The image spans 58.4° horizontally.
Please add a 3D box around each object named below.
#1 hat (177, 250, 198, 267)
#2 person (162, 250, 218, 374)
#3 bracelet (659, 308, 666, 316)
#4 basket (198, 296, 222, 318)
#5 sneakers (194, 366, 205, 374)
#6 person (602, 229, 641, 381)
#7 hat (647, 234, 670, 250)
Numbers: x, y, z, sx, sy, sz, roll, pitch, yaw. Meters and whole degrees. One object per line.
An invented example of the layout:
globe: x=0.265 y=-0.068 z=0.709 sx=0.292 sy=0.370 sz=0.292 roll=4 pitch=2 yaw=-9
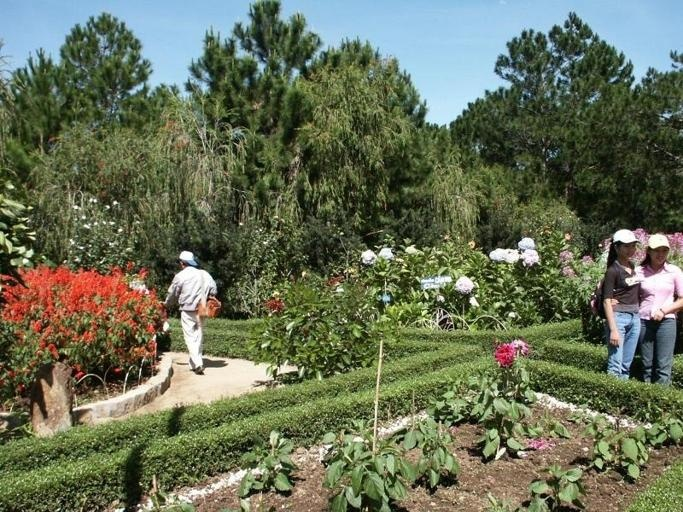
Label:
hat: x=-2.572 y=0.056 z=10.174 sx=0.358 sy=0.135 sz=0.259 roll=40 pitch=17 yaw=21
person: x=-2.445 y=0.928 z=10.032 sx=0.782 sy=2.006 sz=0.493 roll=-2 pitch=-2 yaw=-15
bracelet: x=3.824 y=0.680 z=7.277 sx=0.103 sy=0.087 sz=0.055 roll=-1 pitch=-2 yaw=-39
basket: x=-2.182 y=0.882 z=10.087 sx=0.270 sy=0.183 sz=0.365 roll=-2 pitch=17 yaw=-7
sneakers: x=-2.304 y=1.860 z=9.967 sx=0.167 sy=0.125 sz=0.357 roll=-2 pitch=-3 yaw=-12
person: x=3.378 y=0.594 z=7.378 sx=0.458 sy=1.689 sz=0.455 roll=-3 pitch=-2 yaw=17
hat: x=3.806 y=-0.169 z=7.374 sx=0.222 sy=0.187 sz=0.247 roll=-4 pitch=-2 yaw=25
